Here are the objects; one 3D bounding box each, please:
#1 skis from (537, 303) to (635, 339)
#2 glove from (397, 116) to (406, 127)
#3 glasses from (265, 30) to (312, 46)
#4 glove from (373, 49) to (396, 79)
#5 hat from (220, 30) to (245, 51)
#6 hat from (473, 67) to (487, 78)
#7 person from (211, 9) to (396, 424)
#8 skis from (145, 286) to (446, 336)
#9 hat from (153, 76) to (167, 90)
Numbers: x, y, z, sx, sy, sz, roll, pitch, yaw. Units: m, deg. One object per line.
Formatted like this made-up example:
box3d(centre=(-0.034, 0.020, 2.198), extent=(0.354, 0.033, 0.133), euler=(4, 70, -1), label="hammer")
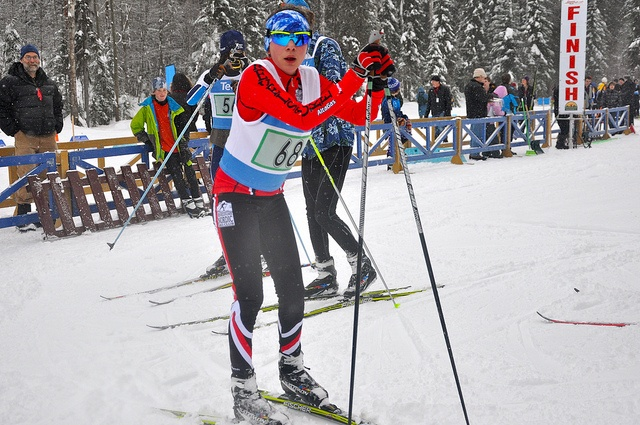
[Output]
box3d(centre=(2.894, 1.196, 6.179), extent=(1.453, 0.124, 0.219), euler=(-2, 30, 3), label="skis")
box3d(centre=(0.873, -0.976, 6.081), extent=(0.097, 0.087, 0.094), euler=(-2, 10, -4), label="glove")
box3d(centre=(-0.295, -1.595, 5.188), extent=(0.397, 0.143, 0.118), euler=(-2, 10, -3), label="glasses")
box3d(centre=(0.661, -1.439, 5.500), extent=(0.088, 0.218, 0.221), euler=(2, 48, -35), label="glove")
box3d(centre=(-1.121, -2.179, 7.218), extent=(0.290, 0.244, 0.223), euler=(-4, 14, 13), label="hat")
box3d(centre=(4.059, -3.592, 14.558), extent=(0.230, 0.237, 0.675), euler=(3, 11, 19), label="hat")
box3d(centre=(-0.318, 0.005, 5.325), extent=(1.335, 3.830, 0.700), euler=(-3, 10, -13), label="person")
box3d(centre=(-0.152, 1.106, 6.268), extent=(2.659, 0.211, 0.272), euler=(-9, 2, -7), label="skis")
box3d(centre=(-2.762, -2.224, 9.808), extent=(0.238, 0.191, 0.461), euler=(-4, 11, -15), label="hat")
